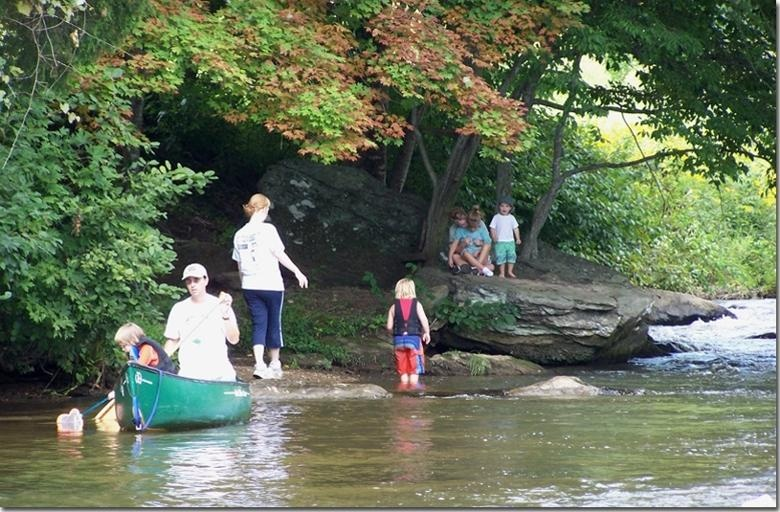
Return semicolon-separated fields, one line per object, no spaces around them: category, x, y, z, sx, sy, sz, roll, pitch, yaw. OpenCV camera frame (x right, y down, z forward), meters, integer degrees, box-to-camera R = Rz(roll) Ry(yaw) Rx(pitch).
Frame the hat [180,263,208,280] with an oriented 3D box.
hat;-3.018;0.231;20.439;0.319;0.218;0.432;-4;-16;4

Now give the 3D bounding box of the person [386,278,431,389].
person;0.354;1.418;24.054;0.778;1.982;0.804;0;-2;-15

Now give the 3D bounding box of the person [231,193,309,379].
person;-2.160;0.535;22.444;1.072;3.163;0.720;-1;-2;4

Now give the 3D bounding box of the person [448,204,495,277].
person;1.743;-0.324;28.019;1.108;1.477;1.514;-1;11;-10
